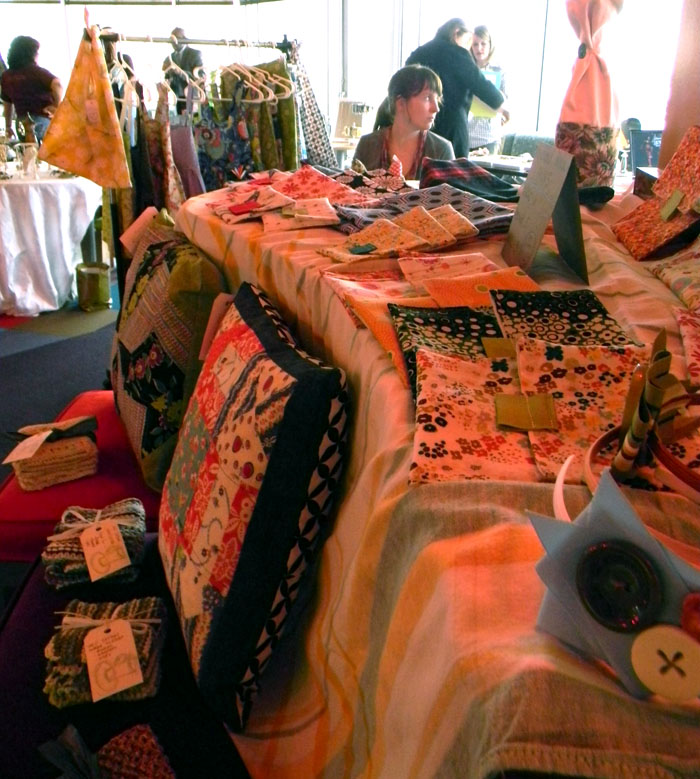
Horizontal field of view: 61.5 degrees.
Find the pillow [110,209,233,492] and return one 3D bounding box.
[{"bbox_3d":[-0.366,-0.073,1.208,0.162,0.421,0.527,3,38,-20],"label":"pillow"}]

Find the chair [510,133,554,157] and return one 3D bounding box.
[{"bbox_3d":[1.347,-1.808,4.339,0.339,0.148,0.238,-16,29,-38],"label":"chair"}]

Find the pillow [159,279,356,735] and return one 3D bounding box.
[{"bbox_3d":[-0.182,0.142,0.952,0.200,0.475,0.568,0,19,-21],"label":"pillow"}]
